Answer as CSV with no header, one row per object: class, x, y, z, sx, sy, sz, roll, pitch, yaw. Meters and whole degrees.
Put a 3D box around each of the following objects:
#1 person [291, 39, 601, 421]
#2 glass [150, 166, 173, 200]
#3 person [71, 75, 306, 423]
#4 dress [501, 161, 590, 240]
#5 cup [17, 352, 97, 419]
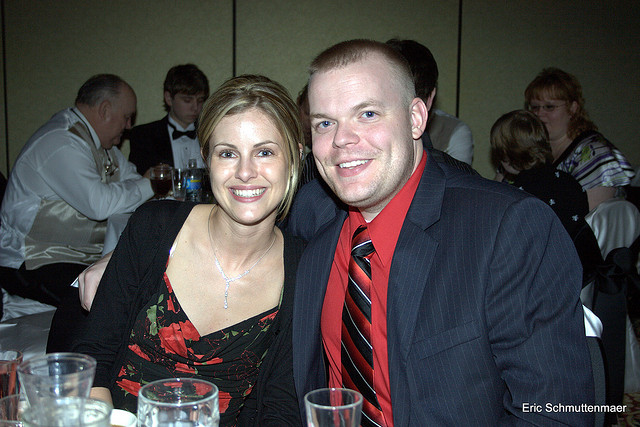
person,0.493,0.075,2.418,1.237,1.737,0.512,1,-9,-1
glass,-1.237,-0.240,4.033,0.159,0.237,0.194,8,-12,-40
person,-0.589,0.168,2.599,0.997,1.731,0.402,1,-9,-4
dress,1.347,-0.075,3.084,0.478,0.474,0.273,15,-8,14
cup,-0.910,0.580,1.796,0.208,0.189,0.218,3,-9,0
